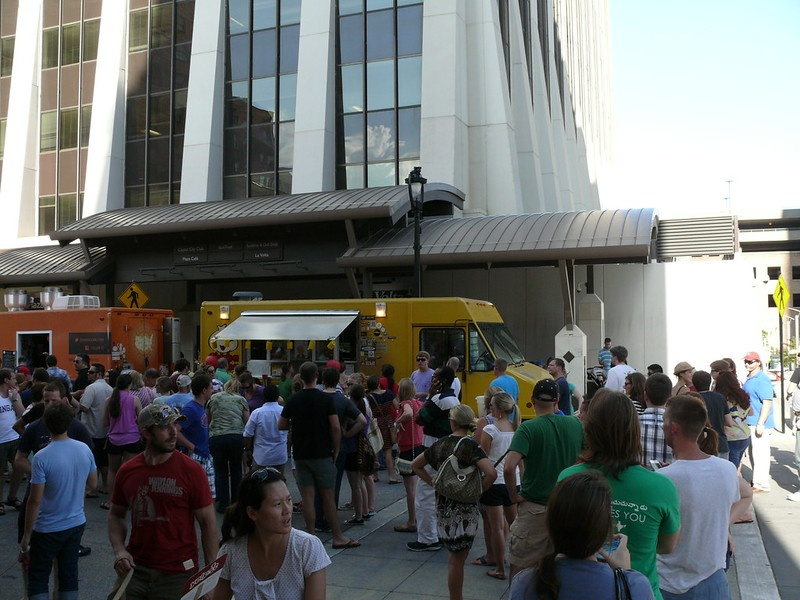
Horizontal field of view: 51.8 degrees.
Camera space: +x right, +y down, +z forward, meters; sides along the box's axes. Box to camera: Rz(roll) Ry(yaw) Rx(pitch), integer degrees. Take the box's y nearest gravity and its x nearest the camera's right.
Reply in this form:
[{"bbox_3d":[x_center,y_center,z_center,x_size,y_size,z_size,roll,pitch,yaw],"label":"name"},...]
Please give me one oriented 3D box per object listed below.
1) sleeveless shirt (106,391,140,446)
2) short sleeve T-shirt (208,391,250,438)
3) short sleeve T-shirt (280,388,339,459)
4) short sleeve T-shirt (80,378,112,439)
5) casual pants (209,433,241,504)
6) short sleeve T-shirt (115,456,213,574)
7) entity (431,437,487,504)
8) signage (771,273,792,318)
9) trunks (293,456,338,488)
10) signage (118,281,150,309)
[{"bbox_3d":[-4.697,1.979,13.907,0.589,0.931,0.497,1,2,-15],"label":"sleeveless shirt"},{"bbox_3d":[-2.759,1.820,13.045,0.678,0.766,0.421,3,-22,-14],"label":"short sleeve T-shirt"},{"bbox_3d":[-1.273,1.790,11.902,0.877,1.149,0.596,9,13,13],"label":"short sleeve T-shirt"},{"bbox_3d":[-5.417,1.919,14.513,0.512,0.947,0.736,-1,-16,16],"label":"short sleeve T-shirt"},{"bbox_3d":[-2.690,2.803,12.781,0.579,0.498,1.585,3,36,-12],"label":"casual pants"},{"bbox_3d":[-2.413,2.198,8.347,1.062,1.297,0.563,0,-4,0],"label":"short sleeve T-shirt"},{"bbox_3d":[0.744,1.970,9.820,0.605,0.832,0.352,12,6,3],"label":"entity"},{"bbox_3d":[9.234,-0.120,19.922,0.472,1.074,0.031,-4,3,-19],"label":"signage"},{"bbox_3d":[-1.177,2.402,11.773,0.624,0.678,0.395,-1,-3,16],"label":"trunks"},{"bbox_3d":[-7.739,-0.150,24.040,0.842,0.955,0.119,2,-2,3],"label":"signage"}]
